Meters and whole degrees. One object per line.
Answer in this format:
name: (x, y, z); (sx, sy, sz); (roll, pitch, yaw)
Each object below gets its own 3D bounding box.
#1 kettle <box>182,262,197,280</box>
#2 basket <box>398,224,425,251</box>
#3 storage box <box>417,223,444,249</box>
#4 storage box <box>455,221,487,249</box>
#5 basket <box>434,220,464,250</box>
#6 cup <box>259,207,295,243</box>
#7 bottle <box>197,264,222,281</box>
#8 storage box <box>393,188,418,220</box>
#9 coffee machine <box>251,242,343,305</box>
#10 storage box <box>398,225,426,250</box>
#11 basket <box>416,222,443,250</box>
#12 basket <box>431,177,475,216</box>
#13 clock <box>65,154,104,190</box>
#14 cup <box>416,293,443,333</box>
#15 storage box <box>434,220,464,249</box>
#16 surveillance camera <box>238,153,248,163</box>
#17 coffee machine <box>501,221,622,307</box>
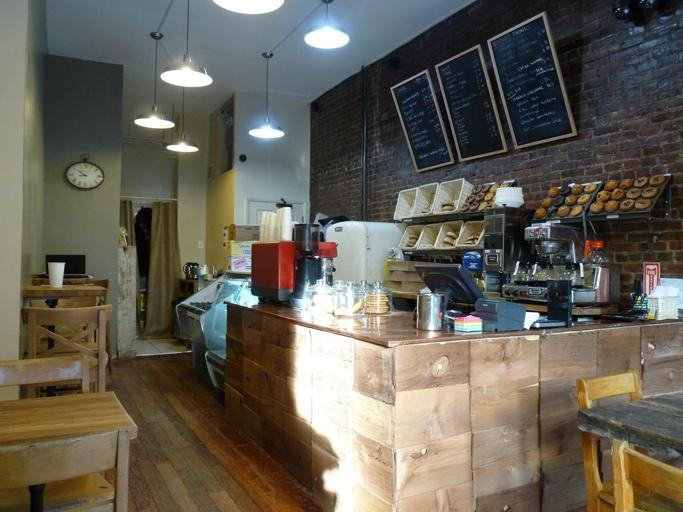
kettle: (-2.623, 0.255, 9.048); (0.341, 0.318, 0.275); (1, 1, -22)
basket: (0.817, -0.225, 6.181); (0.229, 0.323, 0.109); (-13, -39, 36)
storage box: (0.984, -0.215, 5.912); (0.214, 0.311, 0.112); (6, -13, 24)
storage box: (1.313, -0.221, 5.362); (0.228, 0.312, 0.124); (5, -27, 31)
basket: (1.161, -0.221, 5.667); (0.226, 0.332, 0.114); (3, -26, 35)
cup: (-0.564, -0.226, 4.520); (0.347, 0.325, 0.280); (-1, -7, 21)
bottle: (-2.226, 0.281, 8.946); (0.216, 0.267, 0.749); (1, 2, 19)
storage box: (0.783, -0.630, 6.337); (0.271, 0.398, 0.145); (0, -16, 33)
coffee machine: (-0.393, 0.107, 4.361); (0.483, 0.579, 0.863); (0, 2, -28)
storage box: (0.818, -0.204, 6.163); (0.227, 0.323, 0.116); (-5, -32, 37)
basket: (0.988, -0.209, 5.907); (0.214, 0.320, 0.114); (7, -16, 28)
basket: (1.208, -0.649, 5.773); (0.364, 0.458, 0.159); (1, -25, 40)
clock: (-3.480, -1.130, 6.978); (0.491, 0.532, 0.101); (-2, -1, -23)
cup: (0.534, 0.341, 3.148); (0.198, 0.226, 0.201); (1, 2, 0)
storage box: (1.164, -0.229, 5.674); (0.224, 0.330, 0.114); (7, -18, 34)
surveillance camera: (-1.599, -1.594, 8.415); (0.136, 0.133, 0.032); (1, 1, -30)
coffee machine: (1.858, 0.096, 4.551); (0.676, 0.903, 1.180); (3, -4, -15)
